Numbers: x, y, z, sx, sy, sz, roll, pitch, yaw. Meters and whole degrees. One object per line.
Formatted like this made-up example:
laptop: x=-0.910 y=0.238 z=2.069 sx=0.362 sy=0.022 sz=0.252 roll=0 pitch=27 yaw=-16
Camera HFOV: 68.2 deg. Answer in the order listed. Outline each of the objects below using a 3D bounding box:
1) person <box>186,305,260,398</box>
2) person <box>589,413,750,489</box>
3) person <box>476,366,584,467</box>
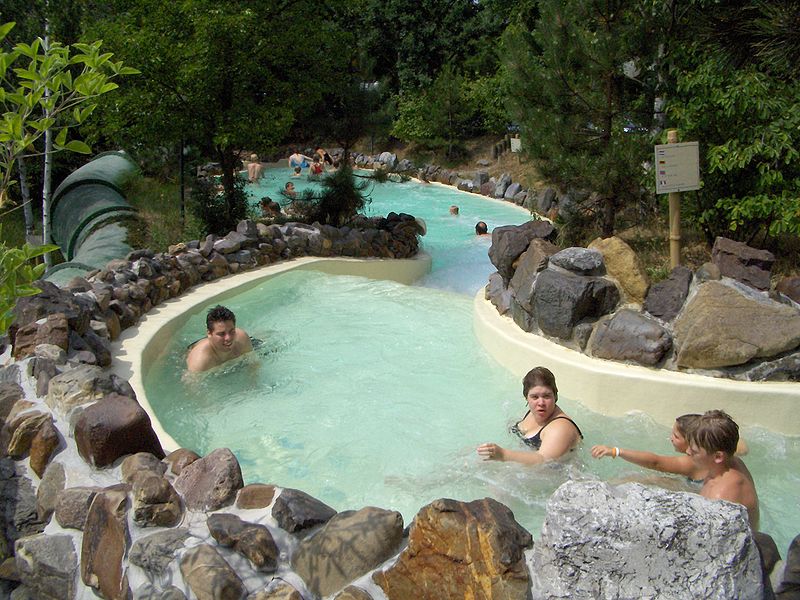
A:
person: x=-2.264 y=0.537 z=7.444 sx=0.928 sy=1.068 sz=0.803 roll=-6 pitch=17 yaw=-19
person: x=2.418 y=1.572 z=5.697 sx=1.305 sy=0.831 sz=0.874 roll=-11 pitch=-2 yaw=36
person: x=1.286 y=1.154 z=5.654 sx=0.721 sy=0.931 sz=0.981 roll=11 pitch=20 yaw=35
